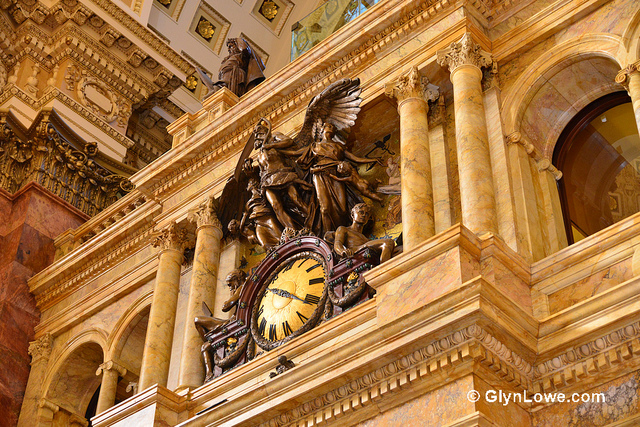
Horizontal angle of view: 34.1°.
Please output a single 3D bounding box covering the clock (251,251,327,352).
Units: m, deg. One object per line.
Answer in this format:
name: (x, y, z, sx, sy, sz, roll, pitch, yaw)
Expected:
clock: (-0.370, 0.985, 12.112, 1.138, 1.025, 0.253, -34, -52, 26)
